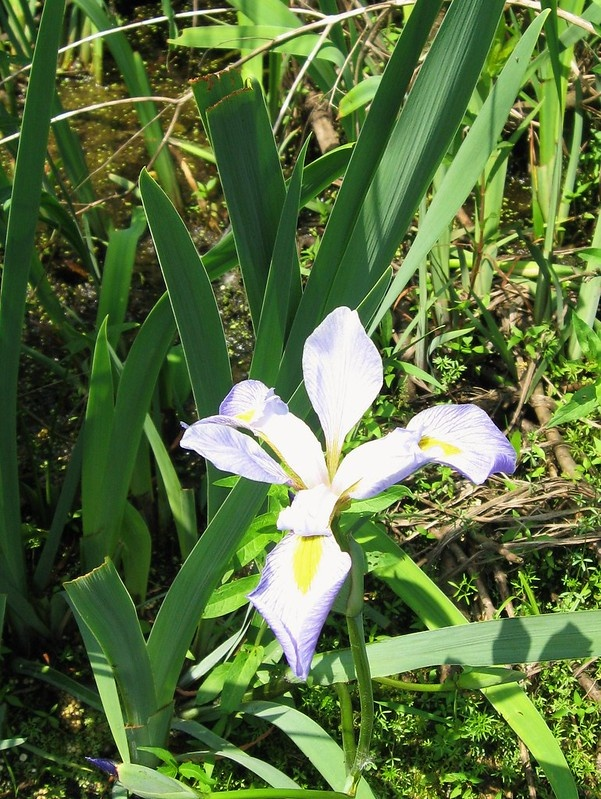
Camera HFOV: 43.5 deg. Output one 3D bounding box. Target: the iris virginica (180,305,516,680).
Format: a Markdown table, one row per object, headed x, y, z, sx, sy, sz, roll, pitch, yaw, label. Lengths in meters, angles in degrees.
| x | y | z | sx | sy | sz | roll | pitch | yaw | label |
| --- | --- | --- | --- | --- | --- | --- | --- | --- | --- |
| -0.012 | 0.127 | 0.827 | 0.402 | 0.091 | 0.337 | 36 | 0 | -45 | iris virginica |
